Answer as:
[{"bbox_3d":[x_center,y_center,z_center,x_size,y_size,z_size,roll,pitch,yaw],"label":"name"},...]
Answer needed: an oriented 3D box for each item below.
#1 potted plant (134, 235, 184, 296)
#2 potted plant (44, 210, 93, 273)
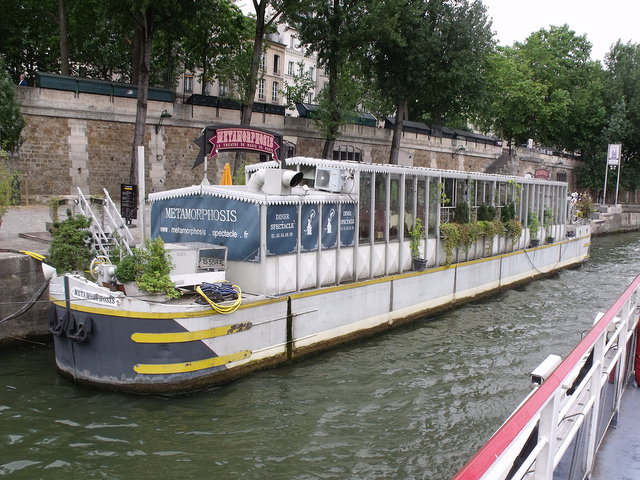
[{"bbox_3d":[-4.025,0.566,17.687,1.192,1.323,0.880,11,-29,-34],"label":"potted plant"},{"bbox_3d":[-6.552,0.069,18.752,1.215,1.900,1.222,10,-10,-9],"label":"potted plant"}]
